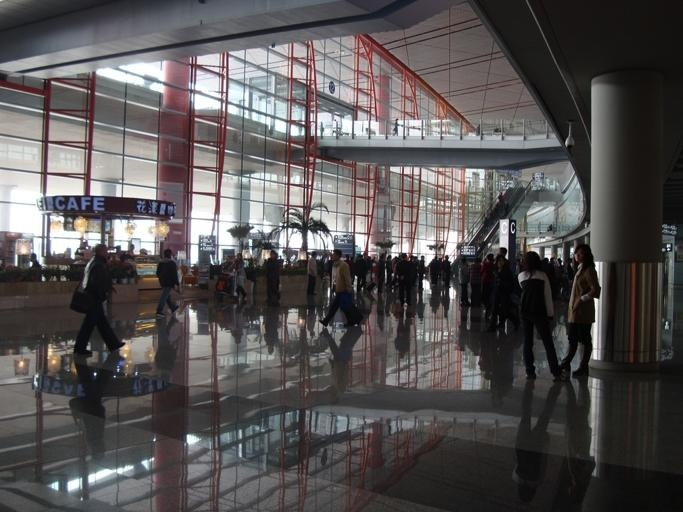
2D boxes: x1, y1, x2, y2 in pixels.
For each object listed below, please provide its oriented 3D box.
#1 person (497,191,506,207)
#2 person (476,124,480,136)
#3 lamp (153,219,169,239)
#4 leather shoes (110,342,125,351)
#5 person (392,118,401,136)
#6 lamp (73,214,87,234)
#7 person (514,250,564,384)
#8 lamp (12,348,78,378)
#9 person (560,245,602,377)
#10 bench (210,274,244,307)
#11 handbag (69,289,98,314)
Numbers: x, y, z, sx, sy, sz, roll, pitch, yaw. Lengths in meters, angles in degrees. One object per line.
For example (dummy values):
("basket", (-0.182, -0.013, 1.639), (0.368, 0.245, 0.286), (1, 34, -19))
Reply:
("person", (10.064, -3.651, 36.977), (0.467, 0.881, 1.570), (2, 3, 14))
("person", (6.915, -6.364, 29.633), (0.225, 0.630, 0.806), (2, 2, 12))
("lamp", (-8.981, -1.355, 29.195), (0.780, 1.181, 0.777), (0, -2, -13))
("leather shoes", (-3.924, 1.609, 10.258), (0.164, 0.055, 0.181), (-7, 8, 9))
("person", (3.103, -7.229, 32.877), (0.540, 0.984, 1.258), (1, 2, 3))
("lamp", (-11.462, -1.428, 25.546), (0.624, 0.798, 0.594), (6, 2, 31))
("person", (3.059, 0.895, 9.059), (0.691, 1.923, 0.507), (2, 2, 29))
("lamp", (-4.899, 1.705, 9.338), (1.230, 0.524, 0.390), (1, 0, 4))
("person", (3.774, 0.852, 9.256), (0.511, 2.075, 0.929), (2, 2, 24))
("bench", (-3.937, 1.120, 20.597), (1.171, 1.203, 0.876), (-4, -1, 7))
("handbag", (-4.460, 0.768, 10.021), (0.422, 0.360, 0.233), (3, 2, 29))
